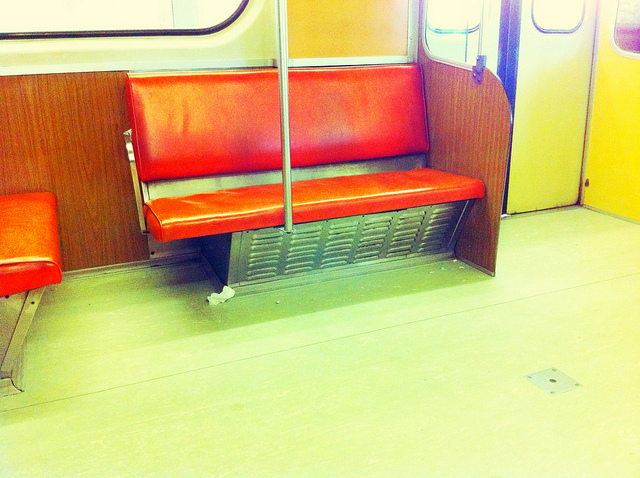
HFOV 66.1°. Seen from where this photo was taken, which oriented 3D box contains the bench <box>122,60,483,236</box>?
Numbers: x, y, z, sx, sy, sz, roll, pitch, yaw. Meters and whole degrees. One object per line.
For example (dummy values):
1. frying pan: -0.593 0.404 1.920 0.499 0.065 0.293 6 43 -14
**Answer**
1. bench: -0.045 -0.519 2.838 1.933 0.726 0.729 -10 30 -21
